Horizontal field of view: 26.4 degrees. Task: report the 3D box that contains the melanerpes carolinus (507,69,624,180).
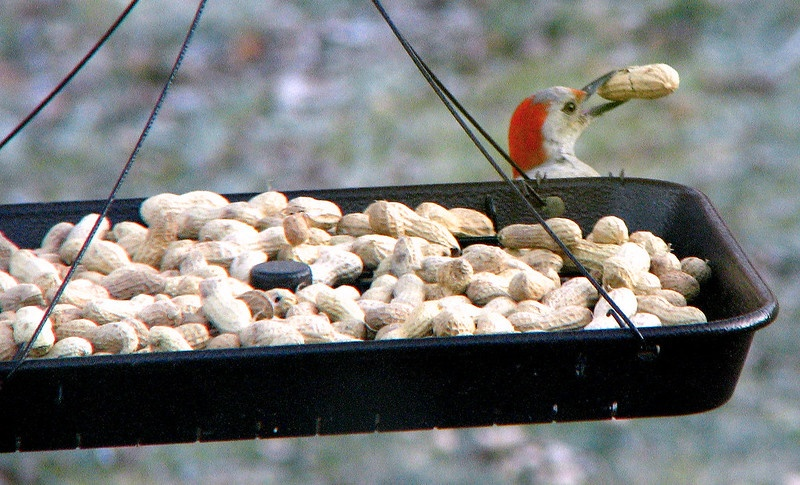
[{"bbox_3d":[0.582,-0.410,6.198,0.430,0.390,0.280,-4,-6,10],"label":"melanerpes carolinus"}]
